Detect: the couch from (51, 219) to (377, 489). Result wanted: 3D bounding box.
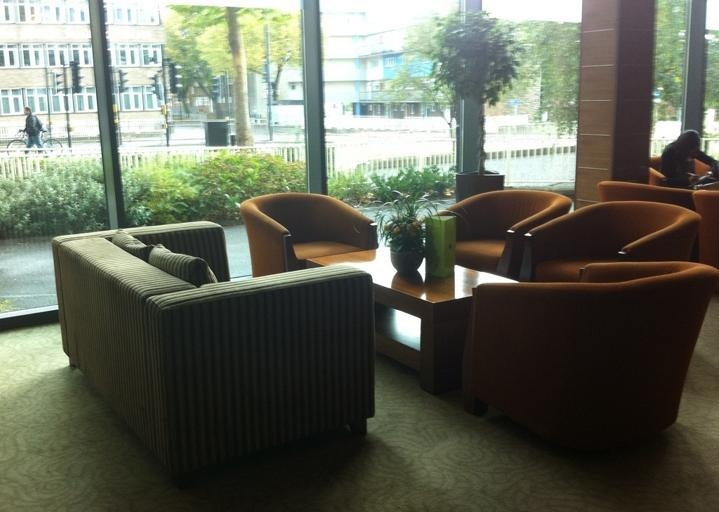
[{"bbox_3d":[-1.008,0.352,3.628,1.215,0.682,2.028,-7,16,-39],"label":"couch"}]

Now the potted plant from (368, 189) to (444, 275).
[{"bbox_3d":[0.355,-0.147,4.071,0.463,0.429,0.368,6,-2,20],"label":"potted plant"}]

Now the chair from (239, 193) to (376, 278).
[{"bbox_3d":[-0.522,-0.035,5.031,0.800,0.652,0.833,-10,-8,41],"label":"chair"}]

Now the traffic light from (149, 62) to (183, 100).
[{"bbox_3d":[-1.643,-1.513,5.009,0.244,0.326,0.049,-13,20,-36],"label":"traffic light"}]

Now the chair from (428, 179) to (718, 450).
[{"bbox_3d":[1.323,0.219,3.785,1.726,1.202,1.936,-4,5,-20],"label":"chair"}]

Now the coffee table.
[{"bbox_3d":[0.302,0.307,3.784,1.016,0.572,1.702,-4,8,-30],"label":"coffee table"}]

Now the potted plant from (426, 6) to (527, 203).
[{"bbox_3d":[1.181,-1.526,5.964,0.878,1.894,0.754,-2,16,2],"label":"potted plant"}]

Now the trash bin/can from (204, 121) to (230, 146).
[{"bbox_3d":[-1.299,-1.120,5.300,0.273,0.231,0.156,-5,24,-23],"label":"trash bin/can"}]
